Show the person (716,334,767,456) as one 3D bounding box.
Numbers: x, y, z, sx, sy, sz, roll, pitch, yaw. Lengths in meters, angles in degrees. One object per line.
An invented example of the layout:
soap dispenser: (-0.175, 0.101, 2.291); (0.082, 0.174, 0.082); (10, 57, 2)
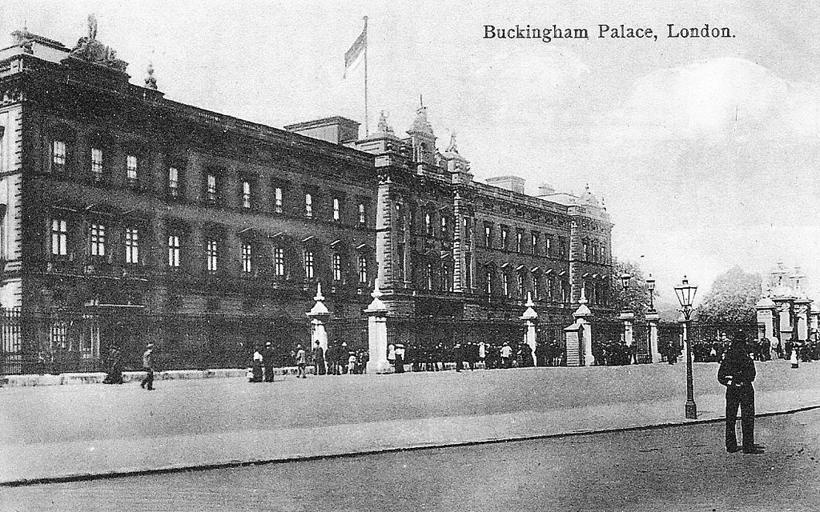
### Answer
person: (10.255, 4.258, 35.580); (1.073, 3.723, 1.413); (-6, -11, 15)

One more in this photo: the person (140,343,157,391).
person: (-10.822, 4.536, 46.804); (0.522, 1.980, 1.459); (0, -10, -15)
